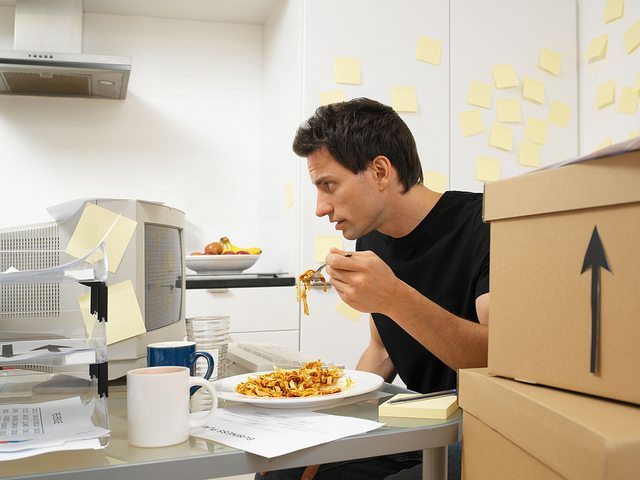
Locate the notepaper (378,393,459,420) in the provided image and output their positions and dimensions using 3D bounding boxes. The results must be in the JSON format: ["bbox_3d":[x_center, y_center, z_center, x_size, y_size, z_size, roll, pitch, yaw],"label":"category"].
[{"bbox_3d":[0.147,0.247,0.747,0.082,0.024,0.103,1,0,0],"label":"notepaper"}]

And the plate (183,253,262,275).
[{"bbox_3d":[-0.449,0.112,2.246,0.318,0.109,0.121,1,11,-14],"label":"plate"}]

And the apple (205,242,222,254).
[{"bbox_3d":[-0.515,0.045,2.374,0.081,0.046,0.127,2,11,-11],"label":"apple"}]

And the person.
[{"bbox_3d":[0.156,0.015,1.175,0.511,0.978,0.417,0,-1,-21],"label":"person"}]

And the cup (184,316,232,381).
[{"bbox_3d":[-0.236,0.231,1.041,0.078,0.116,0.090,3,2,-11],"label":"cup"}]
